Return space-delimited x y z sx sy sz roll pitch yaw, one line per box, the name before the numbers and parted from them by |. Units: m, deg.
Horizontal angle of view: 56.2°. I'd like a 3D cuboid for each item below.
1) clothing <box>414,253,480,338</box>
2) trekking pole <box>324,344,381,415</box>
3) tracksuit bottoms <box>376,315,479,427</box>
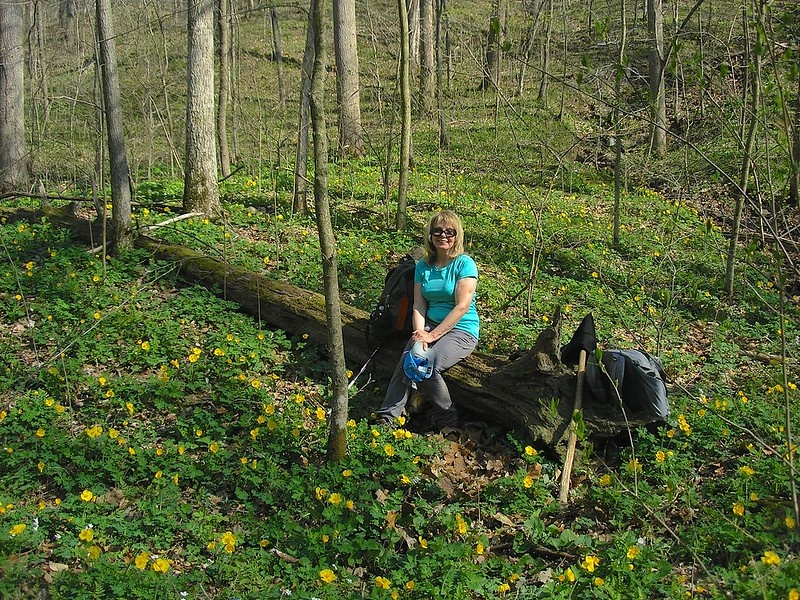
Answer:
clothing | 0.483 -0.036 7.858 0.776 0.965 0.511 3 6 37
trekking pole | -0.477 0.844 7.731 1.049 0.150 0.159 -44 10 -27
tracksuit bottoms | 0.338 0.786 7.883 0.728 1.150 0.374 16 -11 12
